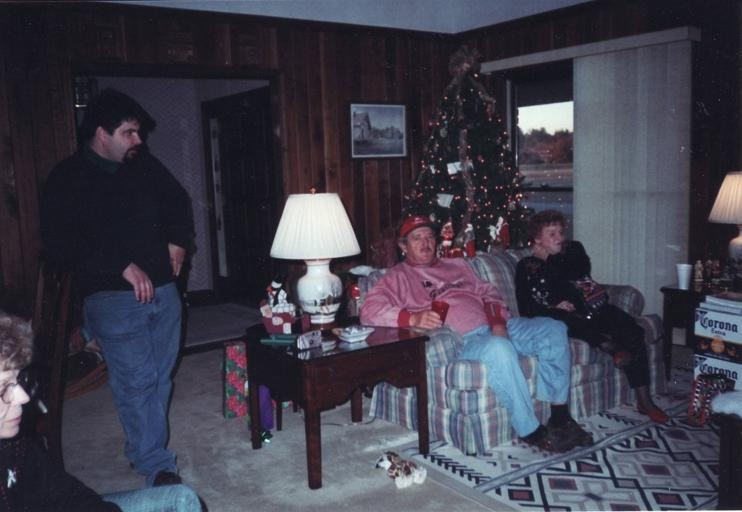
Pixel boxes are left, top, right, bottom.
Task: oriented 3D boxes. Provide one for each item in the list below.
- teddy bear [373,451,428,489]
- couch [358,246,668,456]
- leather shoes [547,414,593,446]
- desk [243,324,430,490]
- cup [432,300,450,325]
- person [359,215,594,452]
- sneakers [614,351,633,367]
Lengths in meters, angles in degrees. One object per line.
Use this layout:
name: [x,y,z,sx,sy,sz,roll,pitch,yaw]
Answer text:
teddy bear: [0.184,1.311,3.884,0.351,0.199,0.110,8,-6,-23]
couch: [1.013,0.249,4.350,2.181,1.115,1.283,-5,7,-32]
leather shoes: [1.305,1.163,4.170,0.359,0.157,0.139,2,5,43]
desk: [-0.273,0.751,4.220,1.082,0.901,0.979,-3,3,-36]
cup: [0.449,0.374,4.197,0.146,0.216,0.132,0,-12,-2]
person: [0.777,0.482,4.420,1.362,1.614,1.107,-5,4,44]
sneakers: [1.755,0.715,4.422,0.089,0.110,0.116,-1,-12,-5]
